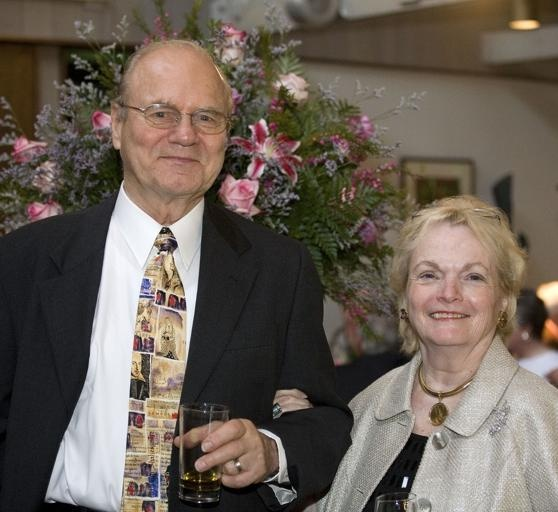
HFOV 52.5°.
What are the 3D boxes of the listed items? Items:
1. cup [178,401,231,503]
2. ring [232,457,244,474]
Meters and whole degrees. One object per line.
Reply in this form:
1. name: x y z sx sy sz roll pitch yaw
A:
1. cup: -0.173 0.466 1.307 0.110 0.242 0.102 -1 -8 0
2. ring: -0.100 0.513 1.371 0.032 0.032 0.032 -17 -17 -5
